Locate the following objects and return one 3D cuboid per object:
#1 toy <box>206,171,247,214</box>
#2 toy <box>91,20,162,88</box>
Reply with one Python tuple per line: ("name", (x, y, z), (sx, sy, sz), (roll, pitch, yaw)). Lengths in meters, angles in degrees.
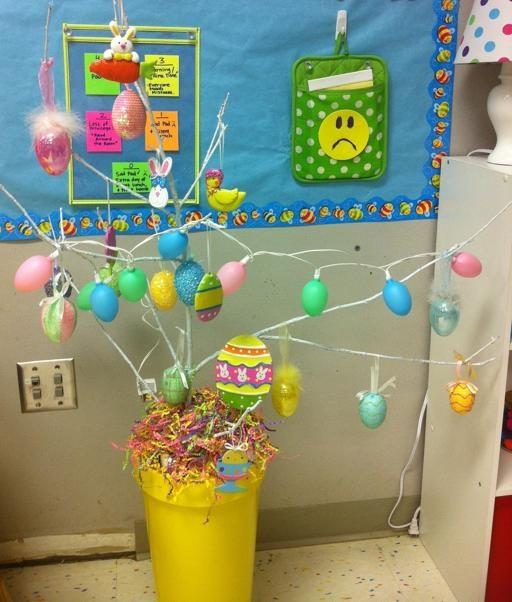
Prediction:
("toy", (-0.066, -0.206, 1.167), (0.054, 0.078, 0.095), (-6, 15, -24))
("toy", (-0.212, -0.398, 0.995), (0.099, 0.093, 0.042), (3, 28, -16))
